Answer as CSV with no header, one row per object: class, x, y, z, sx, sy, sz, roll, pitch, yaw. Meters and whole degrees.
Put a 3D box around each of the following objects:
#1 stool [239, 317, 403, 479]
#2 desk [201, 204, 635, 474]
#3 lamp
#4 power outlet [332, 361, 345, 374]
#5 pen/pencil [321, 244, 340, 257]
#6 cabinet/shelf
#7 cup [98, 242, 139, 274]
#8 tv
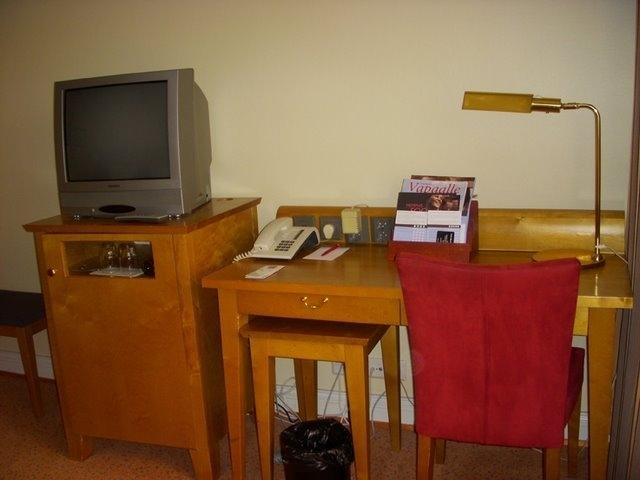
stool,0.018,0.705,2.602,0.725,0.998,0.745,1,9,15
desk,0.420,0.395,2.173,1.162,0.838,0.541,1,8,21
lamp,0.986,-0.262,2.244,0.682,0.703,0.401,-7,13,-29
power outlet,0.094,0.697,2.871,0.071,0.071,0.017,2,2,20
pen/pencil,0.048,0.051,2.540,0.026,0.018,0.165,12,21,25
cabinet/shelf,-0.793,0.299,2.994,1.256,1.747,1.143,3,12,17
cup,-0.962,0.089,2.552,0.223,0.161,0.134,3,10,10
tv,-0.816,-0.370,2.791,0.840,0.858,0.643,1,8,9
